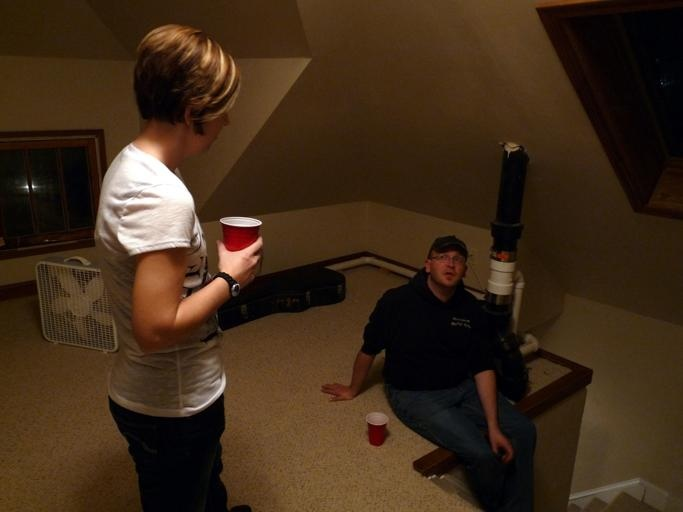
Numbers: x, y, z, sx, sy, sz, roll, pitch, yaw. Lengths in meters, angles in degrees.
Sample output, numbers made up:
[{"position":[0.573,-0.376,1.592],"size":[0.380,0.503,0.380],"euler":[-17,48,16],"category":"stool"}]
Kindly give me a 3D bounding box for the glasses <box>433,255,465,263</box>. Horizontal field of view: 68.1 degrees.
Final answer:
[{"position":[0.615,0.011,2.897],"size":[0.183,0.042,0.060],"euler":[0,15,8],"category":"glasses"}]

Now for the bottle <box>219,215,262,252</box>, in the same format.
[{"position":[-0.342,-0.078,1.762],"size":[0.121,0.093,0.127],"euler":[8,22,-3],"category":"bottle"}]

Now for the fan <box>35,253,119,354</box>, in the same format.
[{"position":[-1.657,0.328,3.265],"size":[0.522,0.635,0.251],"euler":[9,21,19],"category":"fan"}]

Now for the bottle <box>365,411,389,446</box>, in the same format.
[{"position":[0.216,0.958,2.885],"size":[0.112,0.177,0.191],"euler":[-1,15,6],"category":"bottle"}]

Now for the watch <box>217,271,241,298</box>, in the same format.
[{"position":[-0.325,0.082,1.513],"size":[0.032,0.051,0.050],"euler":[-37,75,-26],"category":"watch"}]
